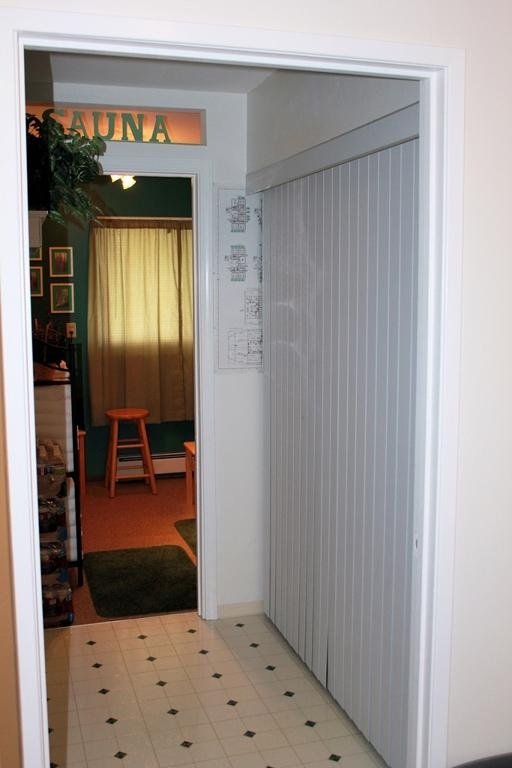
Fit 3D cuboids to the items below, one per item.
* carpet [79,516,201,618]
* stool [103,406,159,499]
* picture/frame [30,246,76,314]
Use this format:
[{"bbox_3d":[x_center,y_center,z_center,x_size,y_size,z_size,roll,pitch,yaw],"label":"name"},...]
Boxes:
[{"bbox_3d":[-0.748,1.288,3.786,0.737,0.061,1.136,-1,2,-18],"label":"carpet"},{"bbox_3d":[-1.275,0.687,5.883,0.514,0.822,0.678,-1,2,-15],"label":"stool"},{"bbox_3d":[-2.018,-1.025,5.688,0.414,0.682,0.123,-2,2,-40],"label":"picture/frame"}]
